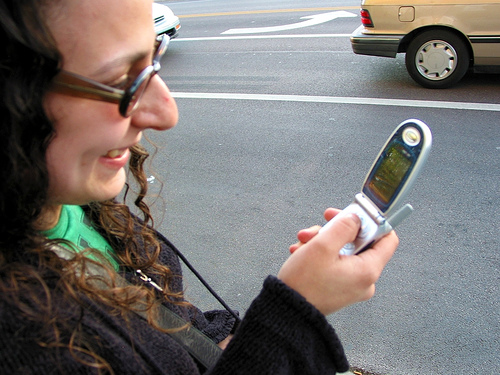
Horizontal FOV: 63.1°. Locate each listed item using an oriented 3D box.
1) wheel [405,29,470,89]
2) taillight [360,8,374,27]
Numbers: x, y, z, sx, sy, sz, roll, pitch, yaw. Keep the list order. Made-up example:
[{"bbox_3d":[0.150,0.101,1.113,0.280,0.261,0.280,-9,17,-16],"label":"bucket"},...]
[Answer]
[{"bbox_3d":[2.847,-1.888,5.951,0.331,0.885,0.931,-31,36,-33],"label":"wheel"},{"bbox_3d":[1.766,-2.514,6.055,0.207,0.255,0.273,-5,19,3],"label":"taillight"}]
